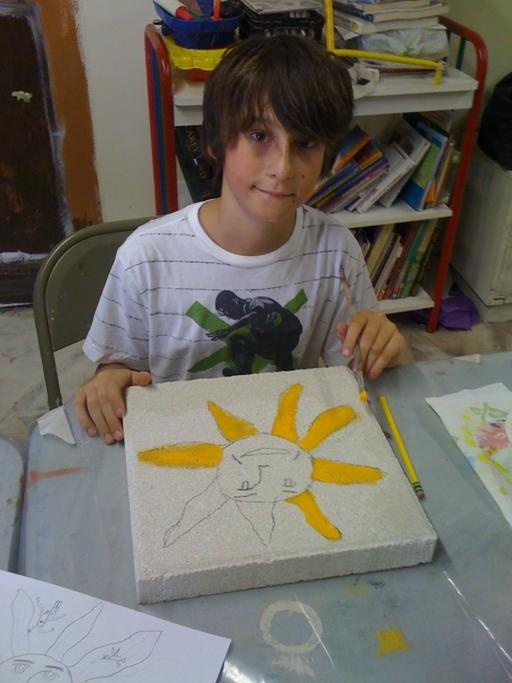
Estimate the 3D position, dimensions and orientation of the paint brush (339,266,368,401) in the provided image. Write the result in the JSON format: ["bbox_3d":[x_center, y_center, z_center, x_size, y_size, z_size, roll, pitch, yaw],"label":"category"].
[{"bbox_3d":[0.148,-0.012,0.885,0.020,0.027,0.232,-12,44,25],"label":"paint brush"}]
